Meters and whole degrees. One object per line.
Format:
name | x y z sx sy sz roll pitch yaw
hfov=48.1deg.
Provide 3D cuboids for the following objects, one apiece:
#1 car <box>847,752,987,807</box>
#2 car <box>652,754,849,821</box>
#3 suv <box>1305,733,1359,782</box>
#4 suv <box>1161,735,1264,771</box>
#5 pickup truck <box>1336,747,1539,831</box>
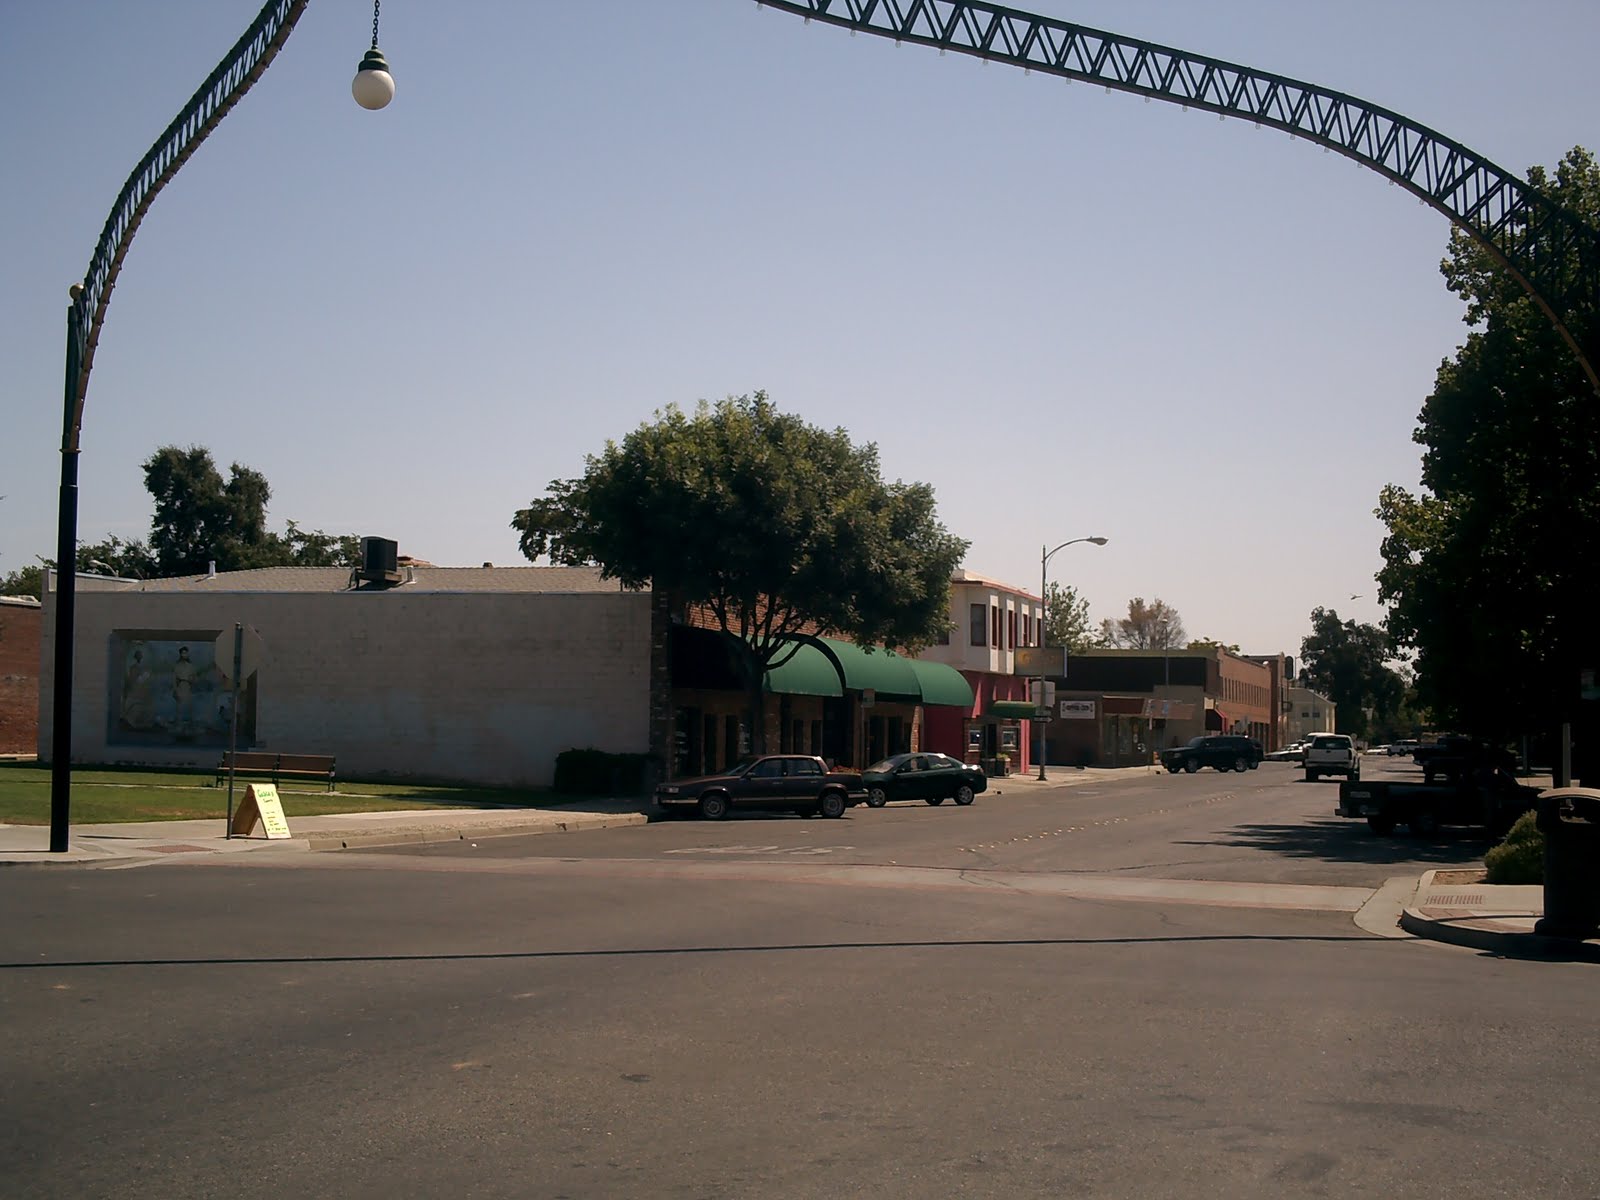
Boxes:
car | 3.264 4.713 47.841 3.704 1.235 1.469 4 -3 -43
car | -1.015 4.066 39.934 4.464 1.325 1.463 3 -3 -32
suv | 21.207 6.157 71.764 1.275 1.349 2.886 0 -10 13
suv | 19.424 7.124 85.183 3.809 1.718 2.204 5 -9 -26
pickup truck | 12.702 3.887 36.606 3.996 1.659 2.463 3 -3 -6
